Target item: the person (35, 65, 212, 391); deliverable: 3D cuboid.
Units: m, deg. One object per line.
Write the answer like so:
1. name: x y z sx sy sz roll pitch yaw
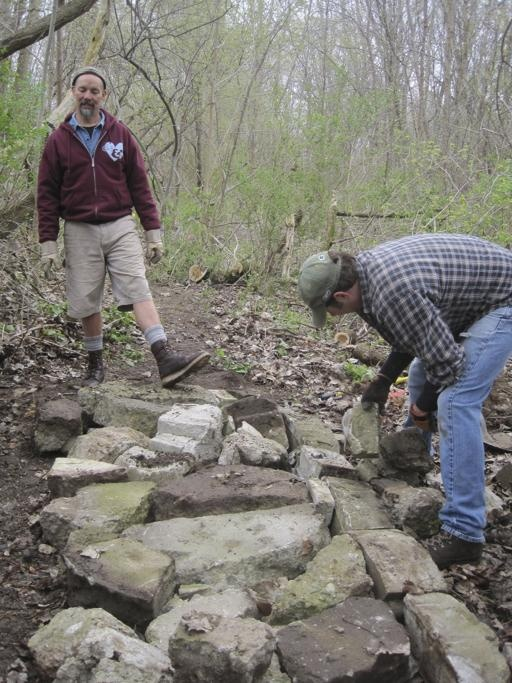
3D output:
1. person: -0.898 -0.679 4.030 0.958 1.950 0.458 4 12 -3

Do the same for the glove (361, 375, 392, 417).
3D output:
1. glove: 0.742 0.343 3.906 0.131 0.103 0.366 -23 -13 -22

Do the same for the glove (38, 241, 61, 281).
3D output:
1. glove: -1.305 -0.519 4.061 0.108 0.243 0.224 1 11 -16

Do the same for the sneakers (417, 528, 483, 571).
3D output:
1. sneakers: 0.864 0.961 2.967 0.389 0.133 0.119 7 9 4

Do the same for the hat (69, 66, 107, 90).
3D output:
1. hat: -1.016 -1.619 3.864 0.214 0.134 0.192 5 8 5

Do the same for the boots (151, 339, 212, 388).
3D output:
1. boots: -0.482 0.080 4.051 0.413 0.266 0.153 -31 -13 36
